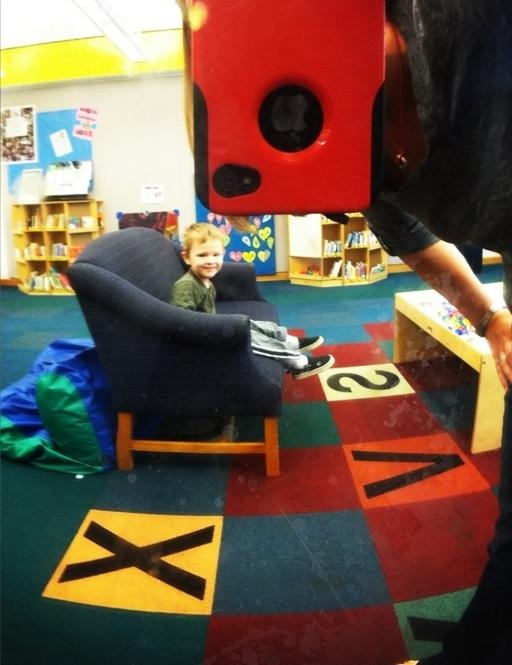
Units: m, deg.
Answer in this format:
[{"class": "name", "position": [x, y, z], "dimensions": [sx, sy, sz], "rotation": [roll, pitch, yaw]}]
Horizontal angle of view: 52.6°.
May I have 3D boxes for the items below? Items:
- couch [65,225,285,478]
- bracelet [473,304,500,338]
[{"class": "couch", "position": [-0.118, -0.001, 1.034], "dimensions": [0.378, 0.355, 0.442], "rotation": [8, 20, 4]}, {"class": "bracelet", "position": [0.243, -0.014, 0.543], "dimensions": [0.025, 0.025, 0.025], "rotation": [-11, -19, -46]}]
